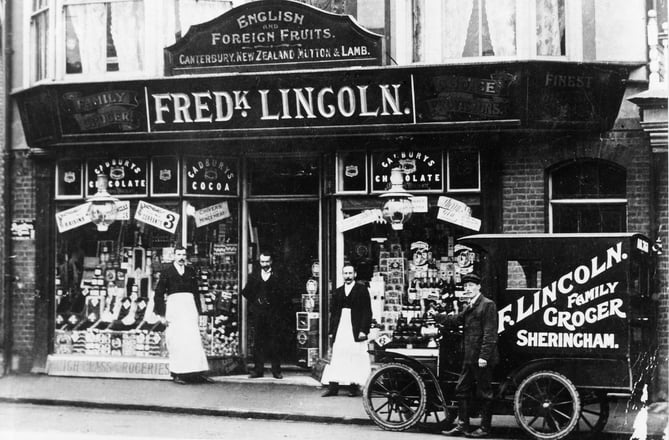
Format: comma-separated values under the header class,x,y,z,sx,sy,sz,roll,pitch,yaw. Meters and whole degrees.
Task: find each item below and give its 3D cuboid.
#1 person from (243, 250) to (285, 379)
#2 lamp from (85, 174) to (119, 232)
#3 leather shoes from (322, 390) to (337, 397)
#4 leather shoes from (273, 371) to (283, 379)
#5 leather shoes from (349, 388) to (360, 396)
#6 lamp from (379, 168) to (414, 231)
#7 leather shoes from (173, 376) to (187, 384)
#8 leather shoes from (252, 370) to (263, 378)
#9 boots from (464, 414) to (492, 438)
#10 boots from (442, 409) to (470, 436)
class,x,y,z,sx,sy,sz,roll,pitch,yaw
person,-1.350,1.793,19.530,0.695,2.361,0.295,0,-3,-5
lamp,-4.460,-0.359,19.810,0.591,1.123,0.305,0,-3,-9
leather shoes,-0.087,3.094,18.395,0.288,0.113,0.101,2,-2,-7
leather shoes,-1.072,2.927,19.453,0.093,0.093,0.225,3,-12,-27
leather shoes,0.360,3.049,18.412,0.217,0.163,0.204,1,-3,-14
lamp,1.141,-0.378,19.018,0.589,1.119,0.322,0,-3,2
leather shoes,-2.894,2.958,19.204,0.304,0.133,0.142,-1,-3,28
leather shoes,-1.466,2.921,19.498,0.244,0.153,0.097,3,-4,4
boots,2.317,3.310,16.450,0.517,0.462,0.248,3,-5,7
boots,2.026,3.298,16.738,0.577,0.511,0.275,2,-2,14
